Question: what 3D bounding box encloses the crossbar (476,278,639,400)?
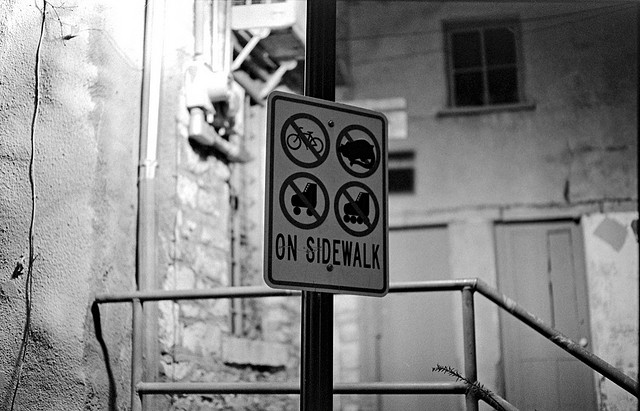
[{"bbox_3d":[1.664,0.930,9.486,1.287,0.137,0.124,34,-7,16],"label":"crossbar"}]
